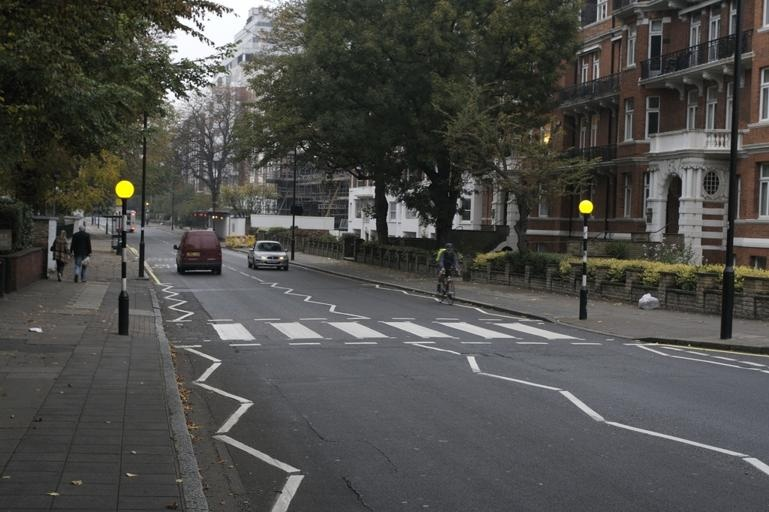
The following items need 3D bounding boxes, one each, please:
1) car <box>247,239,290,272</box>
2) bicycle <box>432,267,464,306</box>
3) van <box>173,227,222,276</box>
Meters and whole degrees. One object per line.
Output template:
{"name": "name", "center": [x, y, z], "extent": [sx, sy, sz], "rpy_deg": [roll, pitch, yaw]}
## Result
{"name": "car", "center": [-6.733, -0.012, 50.329], "extent": [1.923, 1.583, 1.491], "rpy_deg": [2, 2, -36]}
{"name": "bicycle", "center": [2.474, 1.274, 33.349], "extent": [0.858, 1.055, 1.765], "rpy_deg": [2, -2, -20]}
{"name": "van", "center": [-9.740, -0.174, 44.991], "extent": [1.972, 2.321, 2.248], "rpy_deg": [2, 2, -21]}
